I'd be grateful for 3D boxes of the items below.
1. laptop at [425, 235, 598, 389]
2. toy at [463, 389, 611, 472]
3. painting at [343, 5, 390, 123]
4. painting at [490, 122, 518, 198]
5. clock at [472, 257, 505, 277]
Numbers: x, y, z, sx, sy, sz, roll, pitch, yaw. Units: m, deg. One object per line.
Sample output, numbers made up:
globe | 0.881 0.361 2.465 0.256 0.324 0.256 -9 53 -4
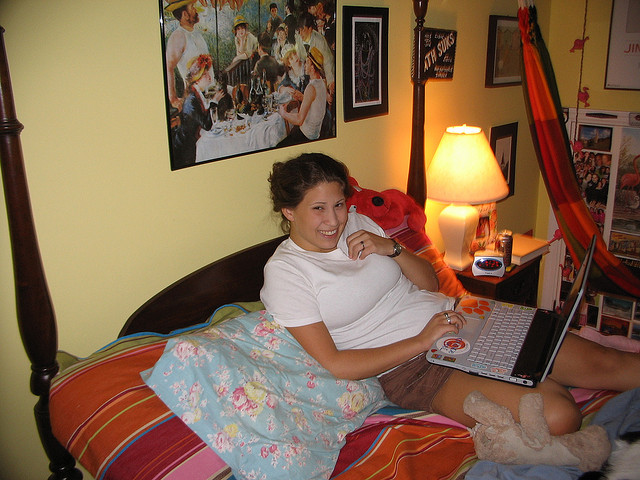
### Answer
laptop | 0.742 0.191 1.816 0.470 0.424 0.646 11 19 30
toy | 0.727 0.570 1.610 0.341 0.213 0.387 14 18 30
painting | 0.219 -0.891 2.392 0.288 0.577 0.033 -18 25 -40
painting | 1.297 -0.548 3.415 0.026 0.511 0.403 8 21 43
clock | 0.921 0.146 2.639 0.127 0.095 0.104 0 0 14
